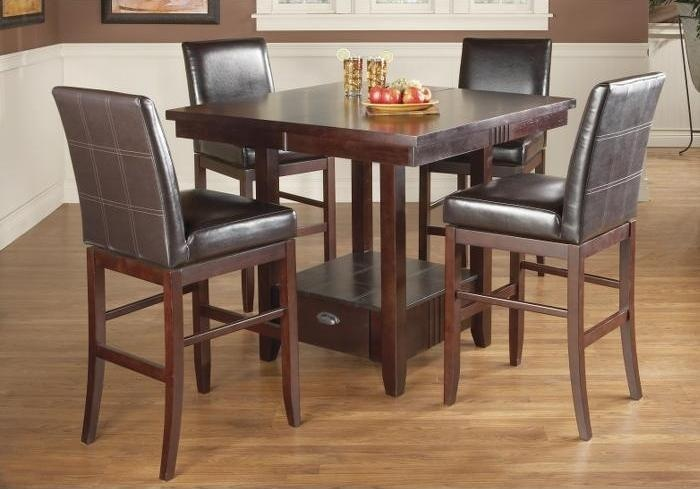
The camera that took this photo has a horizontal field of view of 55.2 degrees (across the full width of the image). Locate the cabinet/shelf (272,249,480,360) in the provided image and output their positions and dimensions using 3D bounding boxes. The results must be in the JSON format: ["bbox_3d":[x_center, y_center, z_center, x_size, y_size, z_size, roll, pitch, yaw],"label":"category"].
[{"bbox_3d":[0.130,0.209,2.967,0.546,0.155,0.552,7,12,38],"label":"cabinet/shelf"}]

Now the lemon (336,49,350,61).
[{"bbox_3d":[-0.029,-0.893,3.177,0.048,0.066,0.132,-4,24,-4],"label":"lemon"}]

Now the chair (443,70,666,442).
[{"bbox_3d":[0.763,0.022,2.527,0.818,1.257,0.732,1,27,6],"label":"chair"}]

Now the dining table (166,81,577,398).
[{"bbox_3d":[0.173,-0.067,3.439,1.620,1.290,1.615,13,23,35],"label":"dining table"}]

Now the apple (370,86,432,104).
[{"bbox_3d":[0.210,-0.625,2.822,0.138,0.045,0.138,8,12,35],"label":"apple"}]

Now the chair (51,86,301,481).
[{"bbox_3d":[-0.608,0.100,2.384,0.863,1.271,0.777,-5,27,-5],"label":"chair"}]
